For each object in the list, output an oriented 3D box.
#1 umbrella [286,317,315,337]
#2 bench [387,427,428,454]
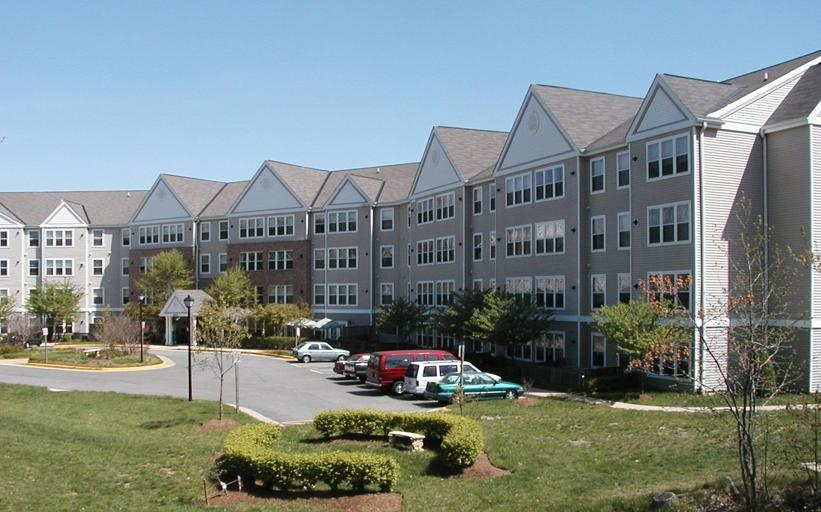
[{"bbox_3d":[-9.615,6.086,74.495,2.093,1.443,2.117,4,-7,-31],"label":"umbrella"},{"bbox_3d":[-0.211,9.186,41.832,1.921,1.003,0.801,-4,-10,29],"label":"bench"}]
